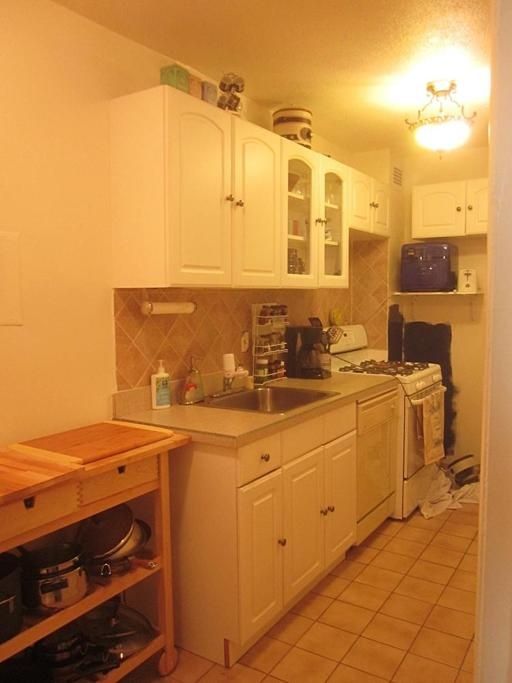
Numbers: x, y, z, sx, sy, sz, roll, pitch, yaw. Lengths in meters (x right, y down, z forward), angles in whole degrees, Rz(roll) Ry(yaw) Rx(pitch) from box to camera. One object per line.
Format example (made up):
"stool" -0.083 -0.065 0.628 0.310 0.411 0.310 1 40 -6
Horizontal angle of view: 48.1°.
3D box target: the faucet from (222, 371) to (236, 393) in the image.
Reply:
"faucet" -0.127 0.183 2.666 0.052 0.087 0.160 0 4 -2

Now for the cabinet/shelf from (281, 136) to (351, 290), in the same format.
"cabinet/shelf" 0.228 -0.624 3.046 0.265 0.697 0.782 3 6 33

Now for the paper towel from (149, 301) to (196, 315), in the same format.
"paper towel" -0.347 -0.136 2.288 0.093 0.042 0.268 2 5 23

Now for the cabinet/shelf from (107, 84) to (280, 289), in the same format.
"cabinet/shelf" -0.205 -0.547 2.230 0.657 0.682 0.298 -3 5 -42

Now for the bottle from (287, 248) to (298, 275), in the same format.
"bottle" 0.177 -0.391 2.789 0.023 0.124 0.118 2 4 22

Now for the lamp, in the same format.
"lamp" 0.930 -1.073 2.916 0.344 0.331 0.354 4 13 28

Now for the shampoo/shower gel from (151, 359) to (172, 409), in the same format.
"shampoo/shower gel" -0.388 0.171 2.300 0.070 0.185 0.096 0 4 -10

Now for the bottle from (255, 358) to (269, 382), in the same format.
"bottle" 0.026 0.143 2.890 0.076 0.120 0.070 0 4 0

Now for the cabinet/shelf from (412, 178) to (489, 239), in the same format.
"cabinet/shelf" 1.338 -0.857 3.956 0.510 0.376 0.284 0 -10 20

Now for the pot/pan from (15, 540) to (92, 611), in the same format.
"pot/pan" -0.614 0.665 1.674 0.203 0.147 0.122 3 5 42
